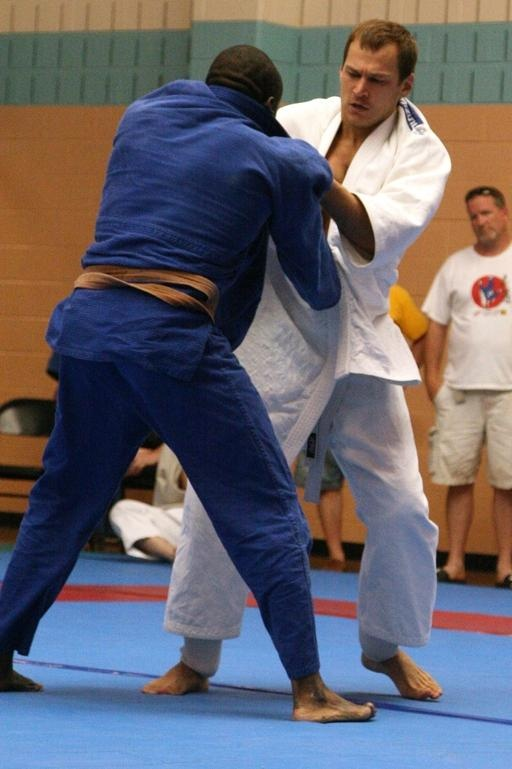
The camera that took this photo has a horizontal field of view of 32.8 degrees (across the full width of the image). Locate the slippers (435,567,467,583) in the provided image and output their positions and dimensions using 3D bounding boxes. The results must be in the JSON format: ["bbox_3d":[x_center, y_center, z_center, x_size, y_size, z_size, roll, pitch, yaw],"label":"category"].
[{"bbox_3d":[1.040,0.990,4.528,0.247,0.076,0.078,8,-9,-28],"label":"slippers"}]
